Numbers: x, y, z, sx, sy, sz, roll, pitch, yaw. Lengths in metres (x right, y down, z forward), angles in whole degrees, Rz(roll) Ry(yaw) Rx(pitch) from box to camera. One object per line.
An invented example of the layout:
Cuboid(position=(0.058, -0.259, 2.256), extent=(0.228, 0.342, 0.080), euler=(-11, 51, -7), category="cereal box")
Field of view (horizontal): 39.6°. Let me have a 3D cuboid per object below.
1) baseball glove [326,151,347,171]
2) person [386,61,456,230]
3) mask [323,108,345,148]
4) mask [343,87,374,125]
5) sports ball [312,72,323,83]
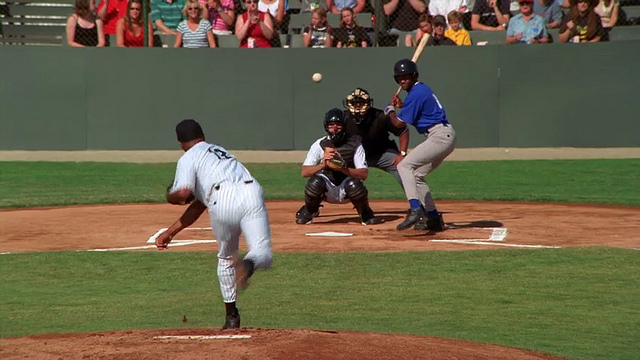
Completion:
Cuboid(position=(0.424, -0.461, 20.233), extent=(0.389, 0.473, 0.187), euler=(16, -24, 13), category="baseball glove")
Cuboid(position=(2.257, -0.767, 19.908), extent=(1.387, 3.804, 0.752), euler=(1, 6, 2), category="person")
Cuboid(position=(0.346, -1.230, 20.293), extent=(0.564, 0.725, 0.758), euler=(-3, 9, 1), category="mask")
Cuboid(position=(0.916, -1.817, 21.118), extent=(0.760, 0.729, 0.835), euler=(0, 6, 6), category="mask")
Cuboid(position=(-0.071, -3.314, 28.456), extent=(0.324, 0.303, 0.190), euler=(0, 6, -3), category="sports ball")
